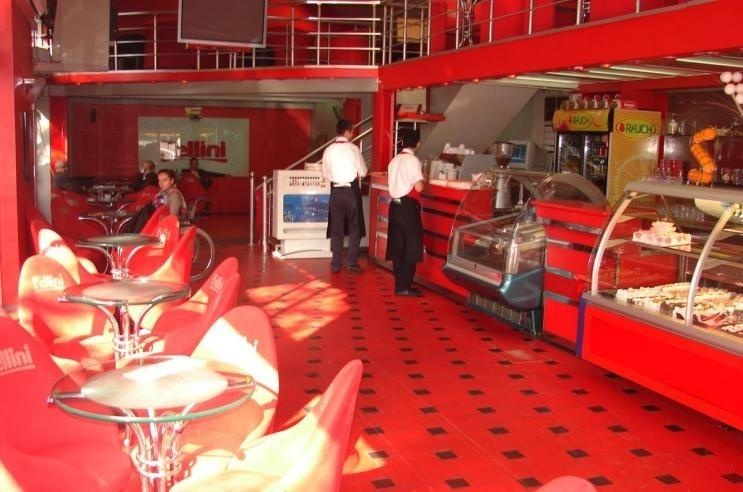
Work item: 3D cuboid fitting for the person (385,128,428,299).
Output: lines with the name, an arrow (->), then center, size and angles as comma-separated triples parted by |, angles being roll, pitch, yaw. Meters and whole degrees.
person -> 0.459, -0.436, 7.888 | 0.498, 2.203, 0.593 | 1, 13, 4

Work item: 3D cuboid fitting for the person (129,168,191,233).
person -> -3.158, -0.553, 8.336 | 0.674, 1.030, 0.654 | 1, 8, -36

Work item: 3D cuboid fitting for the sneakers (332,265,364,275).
sneakers -> -0.382, 0.370, 9.157 | 0.488, 0.193, 0.175 | -2, 4, -5

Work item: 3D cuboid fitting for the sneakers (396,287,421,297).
sneakers -> 0.513, 0.655, 7.964 | 0.359, 0.131, 0.126 | -1, 2, -8

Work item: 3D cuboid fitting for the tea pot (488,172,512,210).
tea pot -> 1.415, -0.605, 6.327 | 0.132, 0.409, 0.346 | -5, 14, -22
